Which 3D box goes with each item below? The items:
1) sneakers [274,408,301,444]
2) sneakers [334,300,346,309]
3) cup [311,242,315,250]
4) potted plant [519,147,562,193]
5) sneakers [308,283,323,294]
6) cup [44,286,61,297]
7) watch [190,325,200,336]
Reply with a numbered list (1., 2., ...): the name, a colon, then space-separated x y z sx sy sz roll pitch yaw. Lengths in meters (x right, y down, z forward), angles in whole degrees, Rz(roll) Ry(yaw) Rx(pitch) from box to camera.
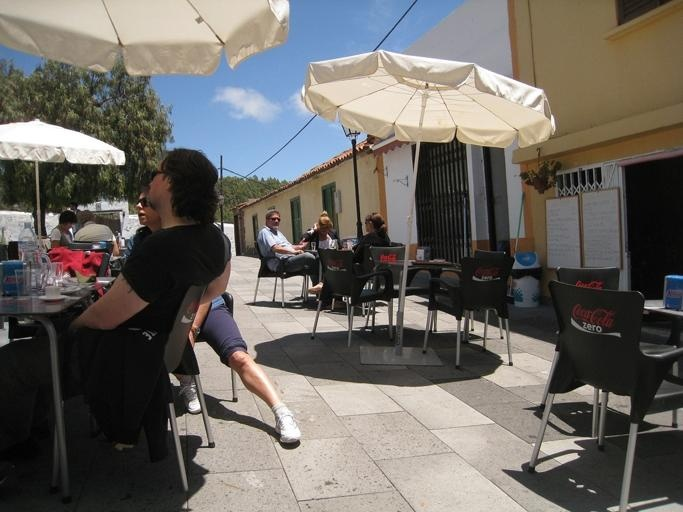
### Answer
1. sneakers: -0.375 1.175 3.210 0.110 0.117 0.269 -1 -3 -19
2. sneakers: -0.029 0.795 7.682 0.133 0.054 0.148 6 43 3
3. cup: -0.564 -0.221 9.258 0.088 0.186 0.052 0 17 5
4. potted plant: 3.187 -1.415 7.513 0.491 0.739 0.669 -2 2 -18
5. sneakers: -0.459 0.554 8.209 0.173 0.228 0.496 0 -10 1
6. cup: -1.753 0.220 2.824 0.060 0.056 0.078 -2 -12 -2
7. watch: -1.064 0.546 3.385 0.031 0.083 0.078 -3 1 16
